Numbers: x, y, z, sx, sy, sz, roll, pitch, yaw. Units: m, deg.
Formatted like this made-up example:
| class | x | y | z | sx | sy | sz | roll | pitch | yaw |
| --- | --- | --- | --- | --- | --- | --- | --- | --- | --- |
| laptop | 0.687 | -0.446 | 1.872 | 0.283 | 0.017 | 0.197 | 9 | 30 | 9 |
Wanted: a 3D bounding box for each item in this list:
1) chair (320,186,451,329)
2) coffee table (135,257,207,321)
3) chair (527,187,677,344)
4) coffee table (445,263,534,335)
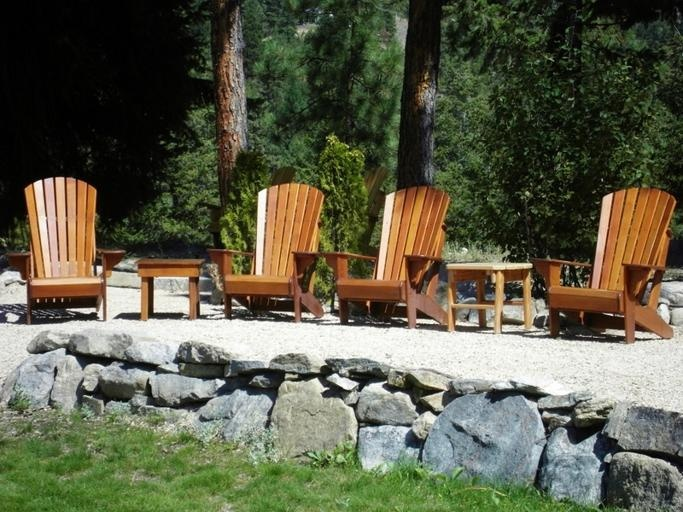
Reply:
| class | x | y | z | sx | sy | sz | roll | pitch | yaw |
| --- | --- | --- | --- | --- | --- | --- | --- | --- | --- |
| chair | 0.414 | 0.031 | 7.686 | 1.183 | 1.833 | 1.234 | -2 | -5 | 35 |
| coffee table | -1.728 | 0.326 | 7.700 | 0.616 | 0.616 | 0.838 | 1 | 3 | -9 |
| chair | 2.533 | 0.055 | 6.995 | 1.241 | 1.419 | 0.940 | 0 | 3 | -27 |
| coffee table | 1.457 | 0.315 | 7.326 | 0.631 | 0.774 | 0.696 | 1 | 1 | 27 |
